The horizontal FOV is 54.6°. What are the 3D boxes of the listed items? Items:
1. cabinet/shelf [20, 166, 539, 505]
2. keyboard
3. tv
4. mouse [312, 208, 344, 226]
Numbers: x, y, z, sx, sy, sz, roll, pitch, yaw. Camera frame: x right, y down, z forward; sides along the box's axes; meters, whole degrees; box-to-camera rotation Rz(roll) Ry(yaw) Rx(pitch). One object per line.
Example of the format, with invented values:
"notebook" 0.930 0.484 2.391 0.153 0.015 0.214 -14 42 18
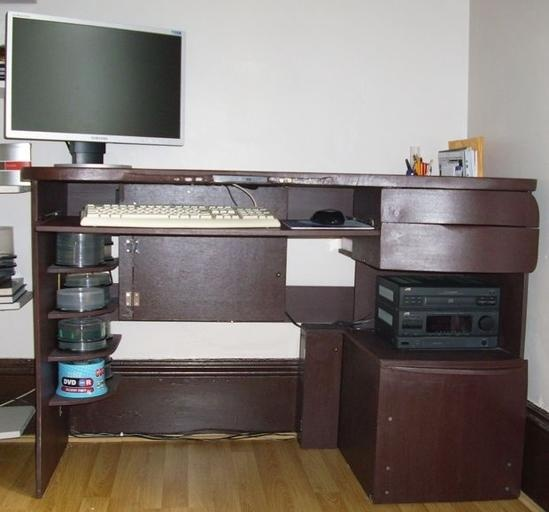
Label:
"cabinet/shelf" 0.041 0.249 2.008 1.696 1.259 0.629 0 11 -9
"keyboard" -0.315 -0.133 1.776 0.646 0.063 0.237 0 8 -6
"tv" -0.676 -0.626 1.952 0.617 0.519 0.189 -1 2 -17
"mouse" 0.189 -0.141 1.894 0.094 0.050 0.161 0 9 -9
